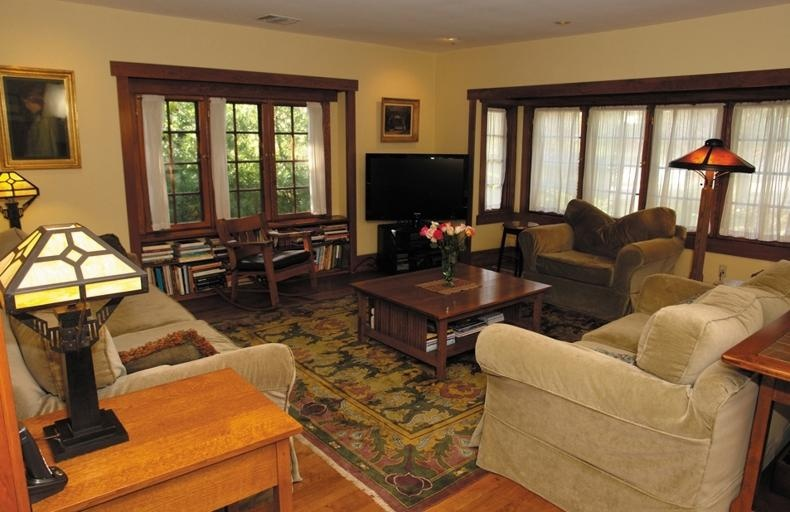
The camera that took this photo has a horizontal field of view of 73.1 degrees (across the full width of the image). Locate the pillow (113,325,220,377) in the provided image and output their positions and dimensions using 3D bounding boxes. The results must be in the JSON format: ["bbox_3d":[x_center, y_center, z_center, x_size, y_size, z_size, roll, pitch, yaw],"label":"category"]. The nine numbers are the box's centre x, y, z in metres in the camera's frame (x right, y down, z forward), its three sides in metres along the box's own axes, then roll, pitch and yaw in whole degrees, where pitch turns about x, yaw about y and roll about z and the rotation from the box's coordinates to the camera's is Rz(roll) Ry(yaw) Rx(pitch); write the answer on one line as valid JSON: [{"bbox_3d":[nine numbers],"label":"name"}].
[{"bbox_3d":[-1.442,0.598,3.356,0.452,0.106,0.331,-11,21,-32],"label":"pillow"}]

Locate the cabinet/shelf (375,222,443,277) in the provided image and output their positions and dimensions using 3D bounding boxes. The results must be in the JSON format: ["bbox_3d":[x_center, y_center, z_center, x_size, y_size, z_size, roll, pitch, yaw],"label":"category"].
[{"bbox_3d":[0.196,-0.070,6.886,0.883,0.604,0.427,-6,15,-25],"label":"cabinet/shelf"}]

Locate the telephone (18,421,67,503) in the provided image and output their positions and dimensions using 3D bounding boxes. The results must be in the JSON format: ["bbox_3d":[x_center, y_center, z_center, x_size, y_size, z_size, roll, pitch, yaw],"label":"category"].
[{"bbox_3d":[-1.459,0.836,2.204,0.141,0.334,0.139,-11,18,-30],"label":"telephone"}]

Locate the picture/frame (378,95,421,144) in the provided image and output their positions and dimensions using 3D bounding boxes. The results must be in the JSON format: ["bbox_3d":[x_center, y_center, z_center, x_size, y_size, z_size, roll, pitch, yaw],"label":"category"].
[{"bbox_3d":[0.040,-1.964,7.680,0.929,0.617,0.093,-8,20,-32],"label":"picture/frame"}]

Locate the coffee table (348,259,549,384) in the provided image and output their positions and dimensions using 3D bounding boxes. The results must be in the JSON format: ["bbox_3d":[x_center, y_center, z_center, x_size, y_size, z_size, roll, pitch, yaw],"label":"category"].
[{"bbox_3d":[0.305,0.444,4.999,1.496,0.455,1.123,-9,15,-37],"label":"coffee table"}]

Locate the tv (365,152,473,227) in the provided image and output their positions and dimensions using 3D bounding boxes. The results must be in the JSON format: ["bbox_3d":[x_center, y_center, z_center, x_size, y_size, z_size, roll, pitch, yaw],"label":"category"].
[{"bbox_3d":[0.279,-0.927,7.449,1.736,0.781,0.109,-1,12,-13],"label":"tv"}]
